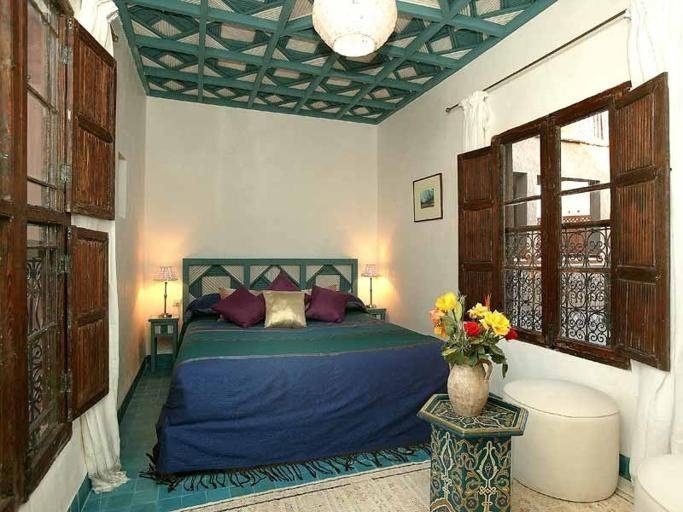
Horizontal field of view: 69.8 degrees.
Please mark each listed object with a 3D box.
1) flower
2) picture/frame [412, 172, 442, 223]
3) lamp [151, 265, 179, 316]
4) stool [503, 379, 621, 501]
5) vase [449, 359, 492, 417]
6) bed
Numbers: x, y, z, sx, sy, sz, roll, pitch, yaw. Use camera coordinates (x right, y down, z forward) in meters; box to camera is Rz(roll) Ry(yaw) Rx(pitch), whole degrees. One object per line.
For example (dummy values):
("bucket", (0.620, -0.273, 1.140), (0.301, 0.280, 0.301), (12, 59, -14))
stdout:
("flower", (0.844, 0.480, 3.166), (0.588, 0.693, 0.628), (0, -5, 21))
("picture/frame", (0.999, -0.679, 5.726), (0.022, 0.496, 0.474), (-1, -2, -31))
("lamp", (-2.094, 0.413, 5.821), (0.259, 0.617, 0.254), (3, -2, -42))
("stool", (1.552, 1.215, 3.497), (0.625, 0.646, 0.676), (1, -3, -23))
("vase", (0.770, 0.756, 2.986), (0.281, 0.375, 0.255), (4, 12, 35))
("bed", (-0.557, 1.018, 4.671), (1.670, 1.150, 2.114), (0, -4, -15))
